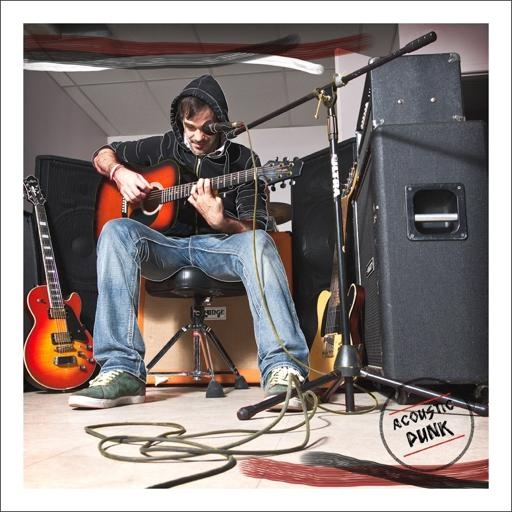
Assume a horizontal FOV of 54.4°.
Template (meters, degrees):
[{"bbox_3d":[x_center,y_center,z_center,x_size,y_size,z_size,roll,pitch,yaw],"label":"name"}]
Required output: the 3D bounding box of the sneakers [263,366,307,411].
[{"bbox_3d":[0.066,0.325,1.242,0.067,0.087,0.201,1,-19,5],"label":"sneakers"}]

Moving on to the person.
[{"bbox_3d":[-0.213,-0.106,1.732,0.756,1.168,0.736,-2,-4,6],"label":"person"}]

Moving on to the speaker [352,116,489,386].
[{"bbox_3d":[0.425,-0.015,1.252,0.223,0.598,0.628,2,-31,10],"label":"speaker"}]

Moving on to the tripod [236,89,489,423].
[{"bbox_3d":[0.199,0.032,1.566,0.728,1.006,0.655,-1,-3,1],"label":"tripod"}]

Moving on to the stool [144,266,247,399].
[{"bbox_3d":[-0.224,0.293,2.001,0.450,0.575,0.505,2,-21,-7],"label":"stool"}]

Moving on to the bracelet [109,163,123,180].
[{"bbox_3d":[-0.562,-0.337,1.988,0.049,0.056,0.020,-4,-14,37],"label":"bracelet"}]

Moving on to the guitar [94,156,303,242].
[{"bbox_3d":[-0.206,-0.233,2.077,0.772,0.366,0.106,-9,-14,30],"label":"guitar"}]

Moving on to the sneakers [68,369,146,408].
[{"bbox_3d":[-0.413,0.377,1.433,0.085,0.096,0.237,-9,-19,35],"label":"sneakers"}]

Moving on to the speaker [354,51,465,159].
[{"bbox_3d":[0.422,-0.428,1.414,0.195,0.226,0.328,0,-2,-3],"label":"speaker"}]
